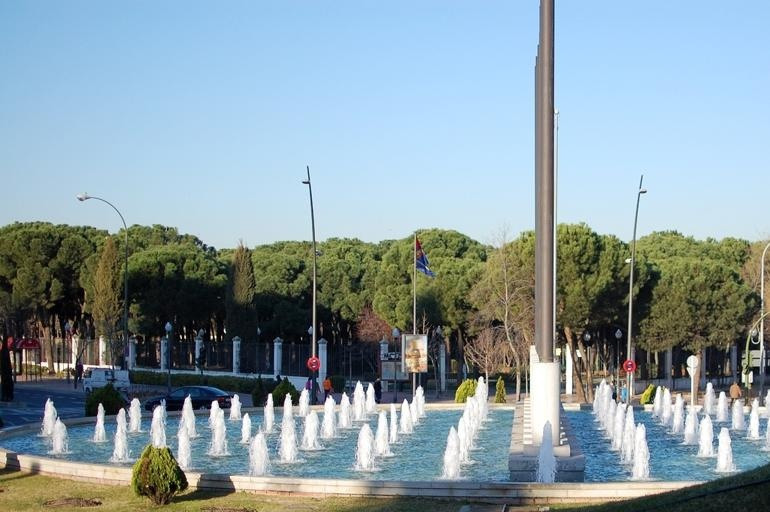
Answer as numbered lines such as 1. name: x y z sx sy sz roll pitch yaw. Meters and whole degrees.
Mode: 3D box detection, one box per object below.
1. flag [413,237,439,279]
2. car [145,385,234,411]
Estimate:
1. flag: 2.732 0.139 97.186 1.364 0.321 4.101 -4 -48 5
2. car: -12.026 8.717 85.503 4.404 1.648 2.123 1 -4 20
